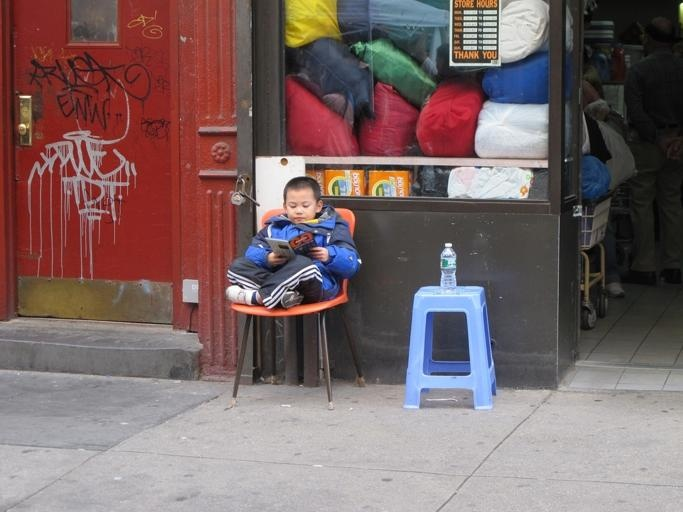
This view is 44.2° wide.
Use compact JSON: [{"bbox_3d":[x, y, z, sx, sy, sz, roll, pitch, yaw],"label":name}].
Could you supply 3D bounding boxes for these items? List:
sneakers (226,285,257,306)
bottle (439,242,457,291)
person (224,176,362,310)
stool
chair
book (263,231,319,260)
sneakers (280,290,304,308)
[{"bbox_3d":[-0.612,0.243,5.199,0.188,0.104,0.083,21,33,23],"label":"sneakers"},{"bbox_3d":[0.688,0.063,5.375,0.109,0.299,0.257,0,10,7],"label":"bottle"},{"bbox_3d":[-0.342,-0.100,5.278,0.741,0.829,0.724,1,-1,-35],"label":"person"},{"bbox_3d":[0.681,0.566,5.462,0.669,0.771,0.695,0,2,12],"label":"stool"},{"bbox_3d":[-0.292,0.325,5.404,0.715,1.171,0.814,3,7,34],"label":"chair"},{"bbox_3d":[-0.304,-0.060,5.134,0.287,0.155,0.164,-2,10,-8],"label":"book"},{"bbox_3d":[-0.287,0.267,5.028,0.085,0.086,0.128,0,-3,-18],"label":"sneakers"}]
